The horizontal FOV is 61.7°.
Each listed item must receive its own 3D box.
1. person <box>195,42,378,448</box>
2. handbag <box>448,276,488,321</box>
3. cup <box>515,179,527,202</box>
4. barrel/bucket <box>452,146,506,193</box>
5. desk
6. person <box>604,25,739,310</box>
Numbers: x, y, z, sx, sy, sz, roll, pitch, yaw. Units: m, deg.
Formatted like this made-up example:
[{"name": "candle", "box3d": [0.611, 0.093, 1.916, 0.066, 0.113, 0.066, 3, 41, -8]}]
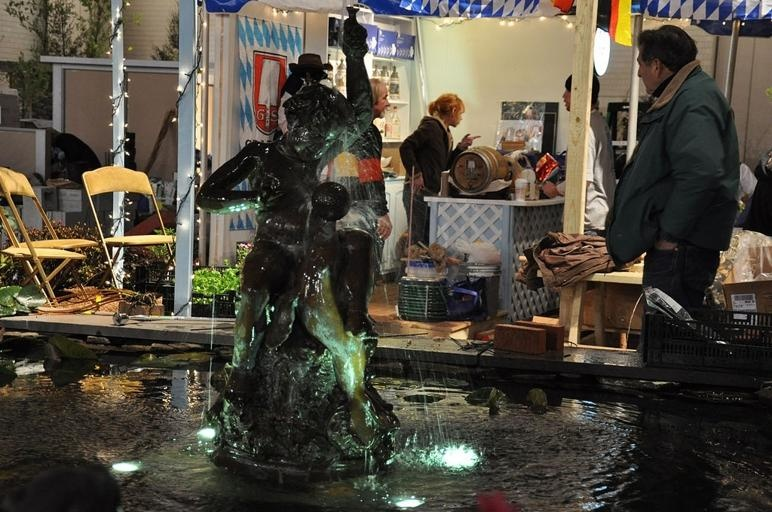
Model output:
[{"name": "person", "box3d": [-0.482, -0.107, 3.318, 0.847, 2.080, 0.548, 0, 8, -7]}, {"name": "handbag", "box3d": [0.819, 0.437, 6.560, 0.462, 0.437, 0.361, 1, 2, 5]}, {"name": "cup", "box3d": [1.555, -0.762, 7.405, 0.133, 0.234, 0.332, 3, 8, 14]}, {"name": "barrel/bucket", "box3d": [1.117, -0.979, 7.643, 0.572, 0.549, 0.821, -12, 1, 33]}, {"name": "desk", "box3d": [1.989, 0.426, 6.370, 0.952, 0.889, 0.913, 0, 3, 6]}, {"name": "person", "box3d": [1.964, -0.604, 4.424, 0.805, 1.944, 0.391, 5, 9, 28]}]
